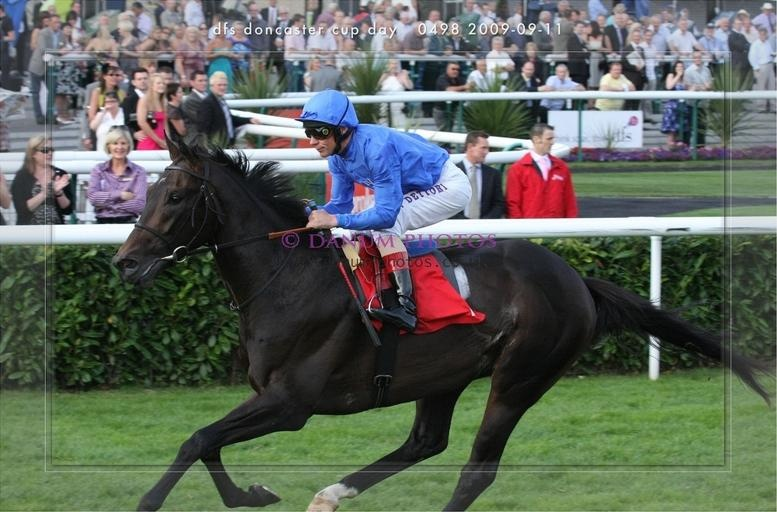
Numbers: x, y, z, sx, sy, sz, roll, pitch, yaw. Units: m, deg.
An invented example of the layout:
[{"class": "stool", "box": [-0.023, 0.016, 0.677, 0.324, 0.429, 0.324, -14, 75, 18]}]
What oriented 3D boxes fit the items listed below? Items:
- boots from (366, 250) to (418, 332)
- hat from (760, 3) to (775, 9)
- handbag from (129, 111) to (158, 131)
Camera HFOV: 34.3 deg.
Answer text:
[{"class": "boots", "box": [0.029, 0.185, 6.798, 0.266, 0.409, 0.129, 6, -17, -10]}, {"class": "hat", "box": [2.534, -1.664, 8.402, 0.087, 0.026, 0.086, 1, 9, 11]}, {"class": "handbag", "box": [-1.742, -0.924, 8.696, 0.168, 0.119, 0.050, 6, 22, 0]}]
